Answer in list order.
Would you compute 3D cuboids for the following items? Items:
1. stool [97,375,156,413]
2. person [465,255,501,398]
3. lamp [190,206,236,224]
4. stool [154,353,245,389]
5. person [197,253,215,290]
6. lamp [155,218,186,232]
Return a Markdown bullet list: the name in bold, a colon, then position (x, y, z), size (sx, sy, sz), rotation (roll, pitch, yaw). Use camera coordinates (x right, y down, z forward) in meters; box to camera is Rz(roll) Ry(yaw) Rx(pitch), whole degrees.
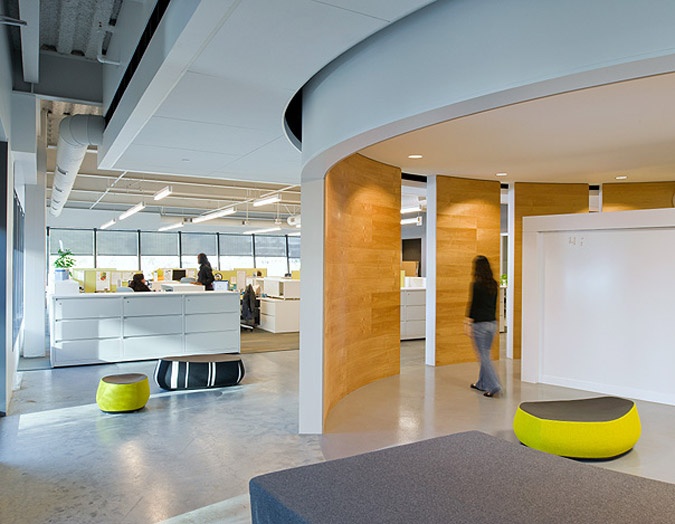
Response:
- **stool**: position (-2.704, 1.623, 5.830), size (0.593, 0.368, 0.591), rotation (4, 3, 35)
- **person**: position (2.022, 0.878, 6.396), size (0.389, 1.922, 0.344), rotation (0, 1, 28)
- **lamp**: position (-5.235, -1.973, 19.073), size (0.407, 0.385, 3.641), rotation (6, -9, -32)
- **stool**: position (-1.998, 1.600, 6.692), size (1.211, 0.477, 0.356), rotation (0, 1, -19)
- **person**: position (-3.289, 0.228, 11.419), size (0.351, 0.884, 0.663), rotation (0, 1, -17)
- **lamp**: position (-7.801, -1.747, 21.257), size (1.653, 0.239, 0.206), rotation (-6, -18, 35)
